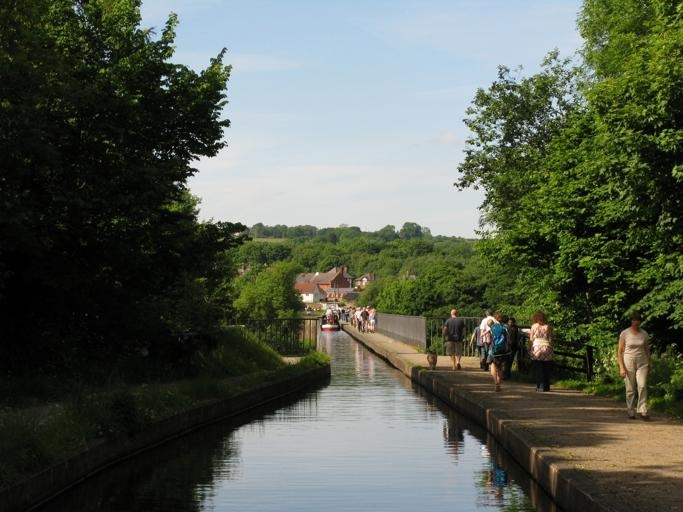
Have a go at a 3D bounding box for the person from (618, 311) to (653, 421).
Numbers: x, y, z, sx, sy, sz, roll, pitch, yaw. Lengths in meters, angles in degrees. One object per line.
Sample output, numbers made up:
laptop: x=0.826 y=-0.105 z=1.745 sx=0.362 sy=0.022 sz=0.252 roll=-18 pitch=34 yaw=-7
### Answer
person: x=6.122 y=2.319 z=17.955 sx=0.631 sy=2.250 sz=1.136 roll=2 pitch=5 yaw=20
